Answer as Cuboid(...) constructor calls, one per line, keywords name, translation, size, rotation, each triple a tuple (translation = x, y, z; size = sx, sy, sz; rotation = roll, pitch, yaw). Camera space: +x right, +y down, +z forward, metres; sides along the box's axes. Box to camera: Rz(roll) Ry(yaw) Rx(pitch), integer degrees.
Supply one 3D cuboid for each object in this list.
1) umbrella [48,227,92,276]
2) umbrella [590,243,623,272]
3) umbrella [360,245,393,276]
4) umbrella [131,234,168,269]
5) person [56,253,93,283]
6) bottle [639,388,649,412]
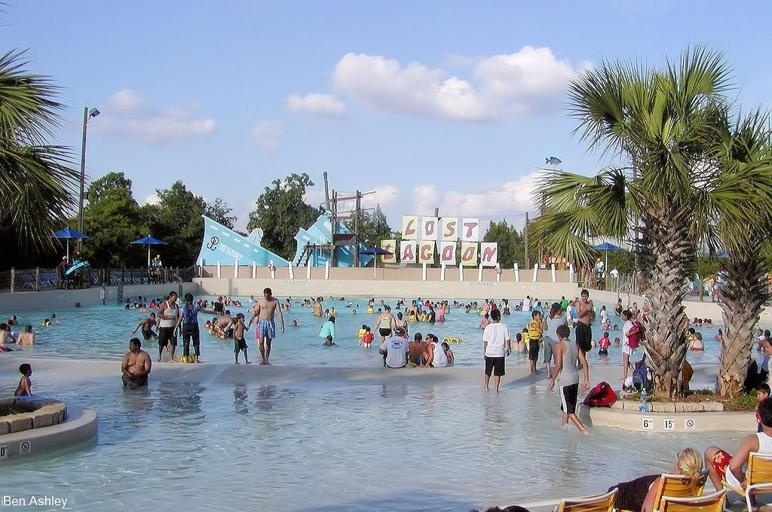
Cuboid(name="umbrella", translation=(-16.483, -0.536, 36.864), size=(1.597, 2.329, 2.209), rotation=(8, 18, 1))
Cuboid(name="umbrella", translation=(12.935, 0.131, 41.060), size=(1.519, 1.508, 1.583), rotation=(4, 9, 30))
Cuboid(name="umbrella", translation=(-0.822, 0.637, 63.657), size=(2.531, 2.513, 2.808), rotation=(-3, 4, -10))
Cuboid(name="umbrella", translation=(-19.379, -0.429, 57.840), size=(2.552, 2.812, 2.651), rotation=(1, -3, -12))
Cuboid(name="person", translation=(-17.323, 0.730, 39.742), size=(1.350, 0.940, 2.029), rotation=(-1, 0, 7))
Cuboid(name="bottle", translation=(5.254, 2.897, 14.408), size=(0.205, 0.467, 0.316), rotation=(-2, -3, 20))
